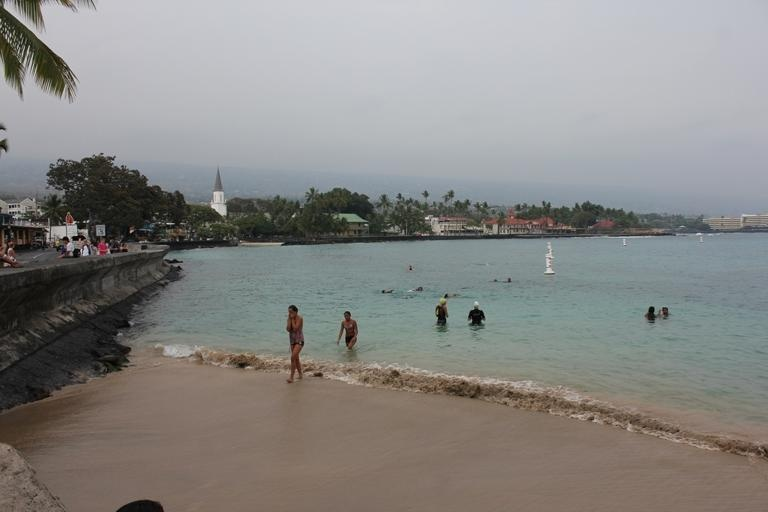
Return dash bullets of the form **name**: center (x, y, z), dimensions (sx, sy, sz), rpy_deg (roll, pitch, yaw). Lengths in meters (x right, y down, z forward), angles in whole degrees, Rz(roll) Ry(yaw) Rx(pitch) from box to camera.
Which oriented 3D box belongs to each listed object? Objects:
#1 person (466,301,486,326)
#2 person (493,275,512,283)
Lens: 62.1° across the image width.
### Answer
- **person**: center (4.571, 2.775, 31.297), dimensions (0.786, 1.182, 2.231), rpy_deg (1, 4, 8)
- **person**: center (10.352, 1.989, 55.888), dimensions (1.431, 0.424, 0.833), rpy_deg (2, -3, 0)
